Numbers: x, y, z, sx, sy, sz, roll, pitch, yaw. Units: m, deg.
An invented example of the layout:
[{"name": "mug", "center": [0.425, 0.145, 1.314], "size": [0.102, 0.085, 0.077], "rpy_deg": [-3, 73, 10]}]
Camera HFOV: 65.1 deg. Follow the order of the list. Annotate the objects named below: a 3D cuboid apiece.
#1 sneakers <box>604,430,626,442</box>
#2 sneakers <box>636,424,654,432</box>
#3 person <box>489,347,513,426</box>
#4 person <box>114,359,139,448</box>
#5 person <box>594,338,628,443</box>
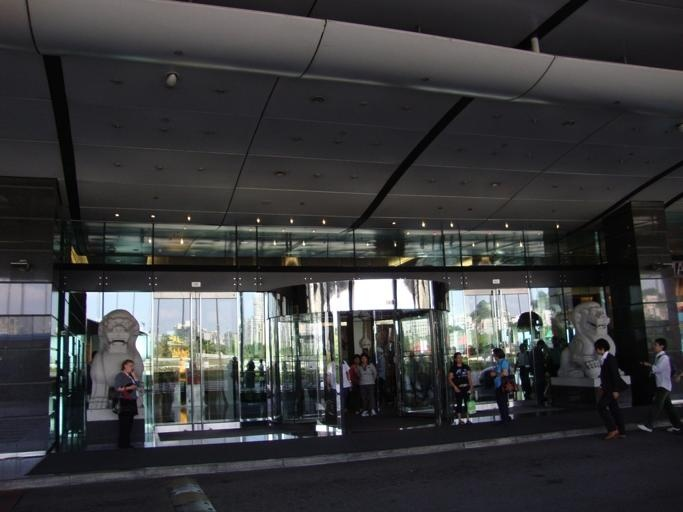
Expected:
[{"name": "sneakers", "center": [6.333, 4.145, 12.355], "size": [0.564, 0.231, 0.205], "rpy_deg": [10, -21, -23]}, {"name": "sneakers", "center": [7.324, 4.173, 12.914], "size": [0.179, 0.121, 0.308], "rpy_deg": [-14, 5, -37]}, {"name": "person", "center": [4.643, 3.673, 15.288], "size": [0.489, 2.033, 1.069], "rpy_deg": [-7, -10, 16]}, {"name": "person", "center": [-5.568, 3.837, 13.968], "size": [0.562, 2.201, 1.485], "rpy_deg": [0, -10, -21]}, {"name": "person", "center": [6.279, 3.095, 12.522], "size": [0.602, 2.248, 0.784], "rpy_deg": [-8, -11, 23]}]
